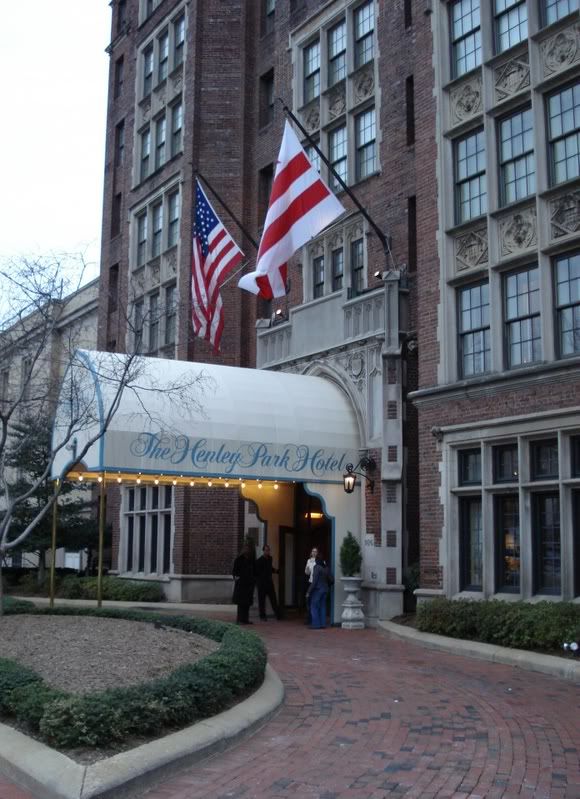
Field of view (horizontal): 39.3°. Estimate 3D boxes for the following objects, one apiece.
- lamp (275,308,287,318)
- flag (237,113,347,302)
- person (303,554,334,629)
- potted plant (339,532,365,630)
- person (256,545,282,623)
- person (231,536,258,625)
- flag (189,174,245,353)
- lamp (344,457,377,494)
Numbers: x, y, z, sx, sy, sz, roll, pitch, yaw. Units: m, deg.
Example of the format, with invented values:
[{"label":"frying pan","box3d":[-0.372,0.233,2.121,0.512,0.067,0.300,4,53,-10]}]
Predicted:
[{"label":"lamp","box3d":[-0.264,-2.450,23.168,0.231,0.294,0.280,0,5,16]},{"label":"flag","box3d":[-0.016,-4.244,17.250,2.313,4.681,0.956,-17,-29,26]},{"label":"person","box3d":[0.624,4.013,17.056,0.550,1.479,0.824,0,-10,2]},{"label":"potted plant","box3d":[1.333,3.846,17.351,0.542,1.936,1.202,0,-10,3]},{"label":"person","box3d":[-0.510,4.169,18.482,0.521,1.602,1.283,1,-10,-1]},{"label":"person","box3d":[-1.000,3.961,17.622,0.500,1.729,1.457,1,-10,-3]},{"label":"flag","box3d":[-1.833,-3.363,19.265,1.374,4.307,0.775,-3,-10,18]},{"label":"lamp","box3d":[1.439,1.662,18.072,0.753,0.852,0.711,5,-11,-23]}]
